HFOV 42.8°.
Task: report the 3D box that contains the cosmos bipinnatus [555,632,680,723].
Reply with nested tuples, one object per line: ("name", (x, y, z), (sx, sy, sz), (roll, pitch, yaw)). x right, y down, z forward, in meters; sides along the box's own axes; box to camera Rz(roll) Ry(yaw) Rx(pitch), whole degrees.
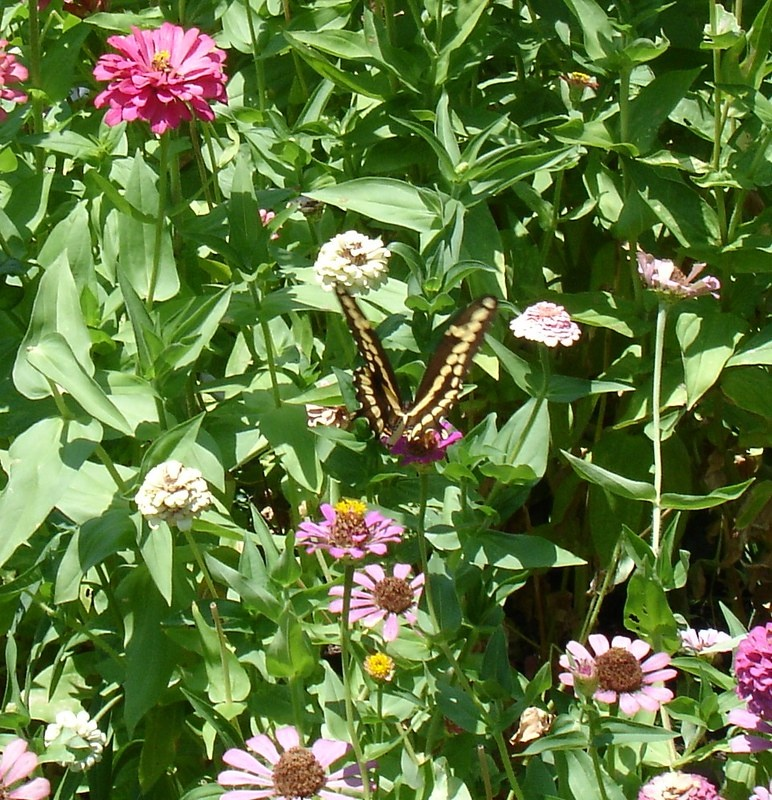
("cosmos bipinnatus", (0.339, 0.394, 1.412), (0.155, 0.068, 0.151), (0, 7, 41))

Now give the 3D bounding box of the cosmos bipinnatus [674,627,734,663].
("cosmos bipinnatus", (0.523, 0.400, 1.603), (0.085, 0.028, 0.080), (-2, 17, -14))

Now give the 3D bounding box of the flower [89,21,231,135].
("flower", (-0.391, -0.548, 1.737), (0.232, 0.182, 0.289), (-10, 34, -6))

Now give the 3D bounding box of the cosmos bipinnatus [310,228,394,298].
("cosmos bipinnatus", (-0.051, -0.199, 1.479), (0.115, 0.099, 0.085), (-19, 36, -18))
